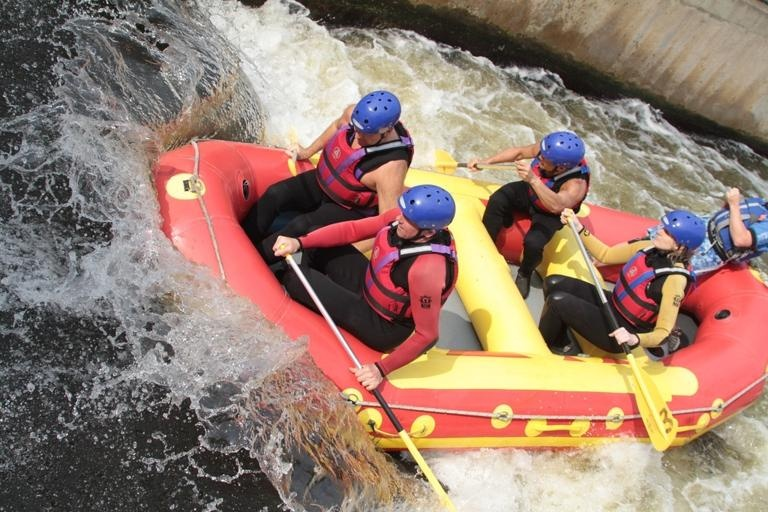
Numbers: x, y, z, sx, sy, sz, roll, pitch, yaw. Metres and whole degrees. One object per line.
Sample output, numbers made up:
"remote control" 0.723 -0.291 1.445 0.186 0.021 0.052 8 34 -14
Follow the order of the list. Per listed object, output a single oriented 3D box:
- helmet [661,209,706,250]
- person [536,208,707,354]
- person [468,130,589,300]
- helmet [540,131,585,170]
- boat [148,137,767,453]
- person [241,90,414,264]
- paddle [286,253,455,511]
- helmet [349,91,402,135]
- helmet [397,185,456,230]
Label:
"helmet" 2.586 -0.187 6.262 0.360 0.231 0.282 20 13 31
"person" 2.140 0.269 6.618 0.621 0.919 0.798 17 47 -13
"person" 1.352 -0.522 7.094 1.007 1.665 1.014 11 43 -3
"helmet" 1.645 -0.989 6.787 0.354 0.289 0.293 2 79 5
"boat" 0.483 1.004 6.926 4.652 1.140 2.923 25 58 -11
"person" -0.540 -0.657 6.464 1.266 1.446 0.862 -17 77 -36
"paddle" -0.146 0.999 5.804 0.103 0.182 2.610 2 50 -56
"helmet" -0.093 -1.172 6.108 0.404 0.312 0.305 -16 74 -39
"helmet" 0.317 -0.356 5.635 0.387 0.242 0.306 -2 59 -12
